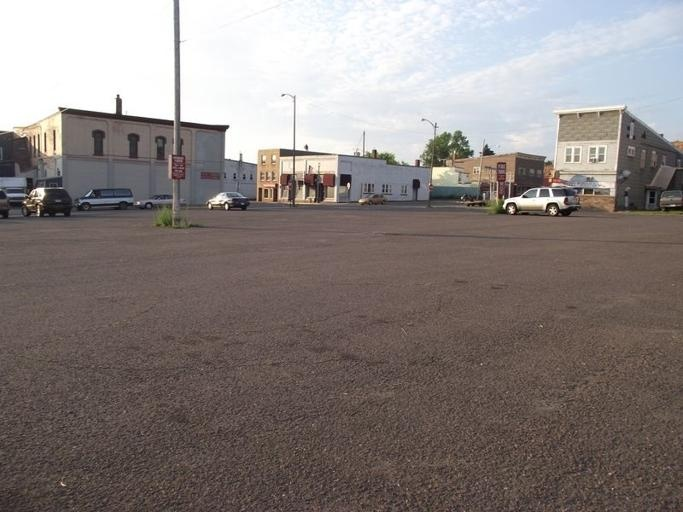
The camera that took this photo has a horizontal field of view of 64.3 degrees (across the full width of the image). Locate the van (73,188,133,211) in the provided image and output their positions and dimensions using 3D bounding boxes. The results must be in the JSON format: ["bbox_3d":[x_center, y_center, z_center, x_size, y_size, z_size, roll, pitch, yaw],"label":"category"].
[{"bbox_3d":[-19.488,-4.763,45.281,3.399,1.621,2.116,-2,3,-30],"label":"van"}]

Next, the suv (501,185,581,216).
[{"bbox_3d":[13.179,-3.603,35.776,2.104,2.078,4.397,-6,12,-43],"label":"suv"}]

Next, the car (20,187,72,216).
[{"bbox_3d":[-18.037,-3.412,33.299,1.729,1.509,2.990,-6,13,-39],"label":"car"}]
